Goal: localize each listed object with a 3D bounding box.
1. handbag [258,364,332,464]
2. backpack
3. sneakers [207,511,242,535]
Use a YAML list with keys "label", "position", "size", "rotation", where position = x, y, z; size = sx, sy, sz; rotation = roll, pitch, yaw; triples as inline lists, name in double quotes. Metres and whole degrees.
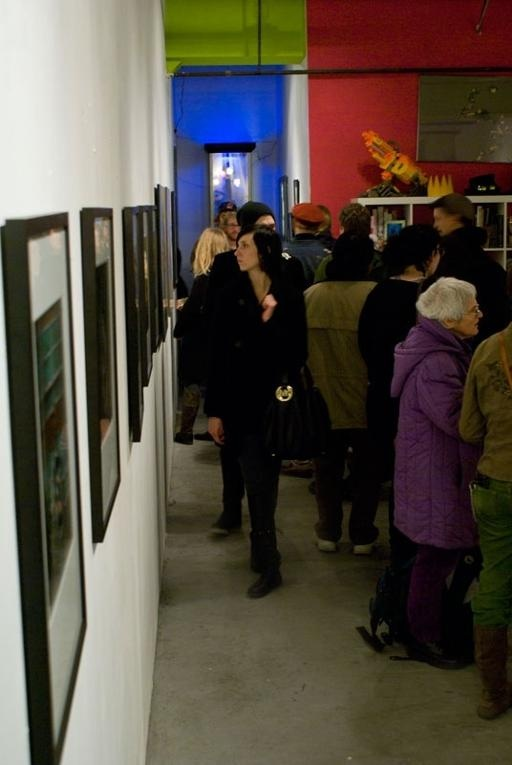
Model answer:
- label: "handbag"
  position: [0.307, 0.165, 3.510]
  size: [0.236, 0.512, 0.325]
  rotation: [-1, -1, 30]
- label: "backpack"
  position: [0.752, 1.082, 3.000]
  size: [0.568, 0.510, 0.207]
  rotation: [6, 12, 32]
- label: "sneakers"
  position: [-0.217, 1.002, 4.292]
  size: [0.090, 0.126, 0.273]
  rotation: [-4, -13, 20]
